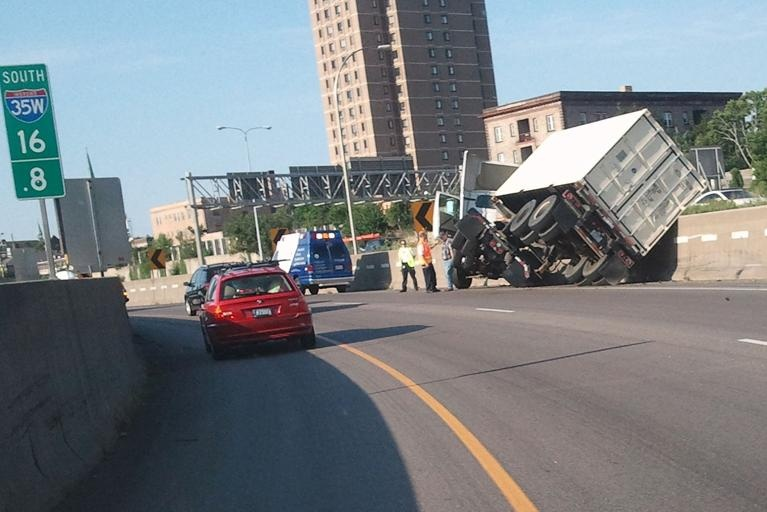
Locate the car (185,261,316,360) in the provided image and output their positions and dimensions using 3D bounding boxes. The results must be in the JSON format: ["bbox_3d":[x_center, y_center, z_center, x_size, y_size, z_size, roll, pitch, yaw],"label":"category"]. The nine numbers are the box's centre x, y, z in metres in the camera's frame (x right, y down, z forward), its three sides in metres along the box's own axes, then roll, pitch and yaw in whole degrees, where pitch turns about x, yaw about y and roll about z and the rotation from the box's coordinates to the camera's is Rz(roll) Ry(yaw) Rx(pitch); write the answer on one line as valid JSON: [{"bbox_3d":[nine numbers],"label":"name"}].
[{"bbox_3d":[-2.932,1.343,14.462,1.590,1.424,2.799,-5,7,-11],"label":"car"}]

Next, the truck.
[{"bbox_3d":[5.638,-1.497,21.970,4.361,5.590,9.642,-8,4,-32],"label":"truck"}]
